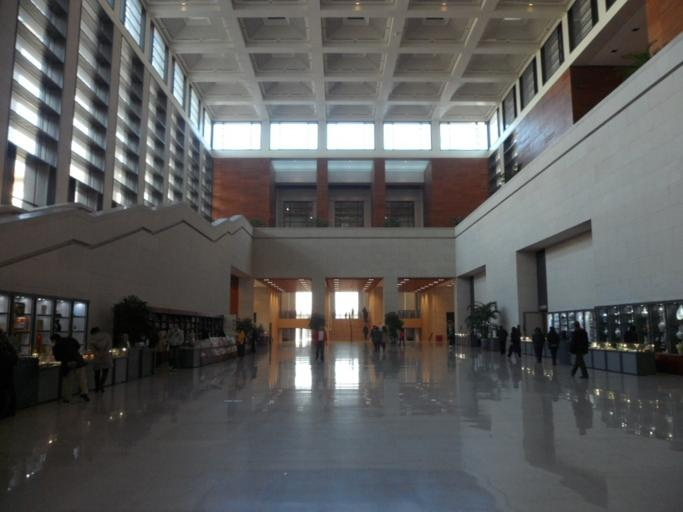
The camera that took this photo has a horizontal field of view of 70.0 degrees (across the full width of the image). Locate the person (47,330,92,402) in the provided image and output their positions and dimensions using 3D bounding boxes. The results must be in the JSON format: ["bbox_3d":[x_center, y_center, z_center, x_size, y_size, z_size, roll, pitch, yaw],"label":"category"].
[{"bbox_3d":[-5.364,2.159,9.641,0.547,1.345,0.531,-7,5,14],"label":"person"}]

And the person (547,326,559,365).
[{"bbox_3d":[7.394,3.104,17.020,0.371,1.299,1.467,-4,-11,22],"label":"person"}]

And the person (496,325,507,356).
[{"bbox_3d":[7.419,3.870,22.552,0.396,1.317,1.767,-3,-11,17],"label":"person"}]

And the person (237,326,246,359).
[{"bbox_3d":[-4.617,4.025,22.444,0.358,1.152,1.252,2,-11,-12],"label":"person"}]

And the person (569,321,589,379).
[{"bbox_3d":[6.515,2.521,13.404,0.437,1.537,2.069,-5,-12,26],"label":"person"}]
